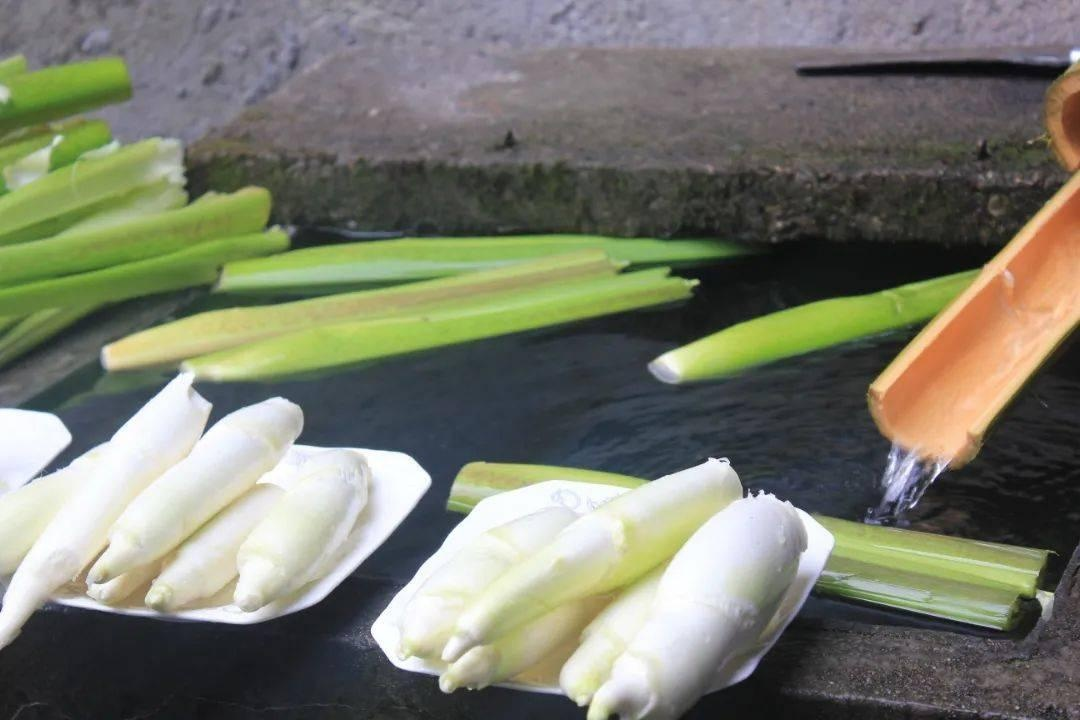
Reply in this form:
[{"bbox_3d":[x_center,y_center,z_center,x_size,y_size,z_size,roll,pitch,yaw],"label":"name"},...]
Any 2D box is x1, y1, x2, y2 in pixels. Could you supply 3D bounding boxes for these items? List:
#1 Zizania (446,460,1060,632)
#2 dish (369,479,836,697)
[{"bbox_3d":[0.320,0.271,1.595,0.642,0.077,0.148,8,24,23],"label":"Zizania"},{"bbox_3d":[0.054,0.228,1.451,0.538,0.529,0.063,-8,86,-12],"label":"dish"}]
